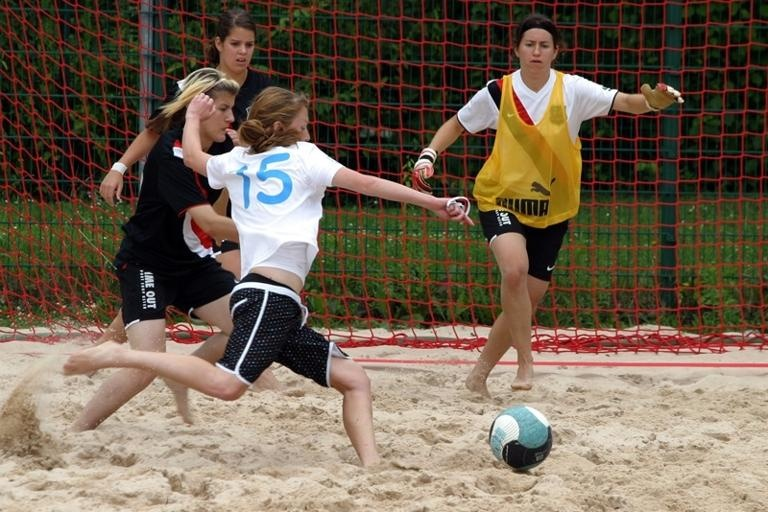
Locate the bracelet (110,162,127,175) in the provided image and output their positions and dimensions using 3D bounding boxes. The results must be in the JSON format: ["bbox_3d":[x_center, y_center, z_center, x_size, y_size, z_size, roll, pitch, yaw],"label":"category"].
[{"bbox_3d":[-2.053,-0.675,7.018,0.108,0.076,0.109,30,19,26],"label":"bracelet"}]

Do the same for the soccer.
[{"bbox_3d":[0.859,1.147,5.704,0.380,0.377,0.176,8,12,11],"label":"soccer"}]

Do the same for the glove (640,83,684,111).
[{"bbox_3d":[2.002,-1.147,6.559,0.284,0.194,0.650,9,13,15],"label":"glove"}]
